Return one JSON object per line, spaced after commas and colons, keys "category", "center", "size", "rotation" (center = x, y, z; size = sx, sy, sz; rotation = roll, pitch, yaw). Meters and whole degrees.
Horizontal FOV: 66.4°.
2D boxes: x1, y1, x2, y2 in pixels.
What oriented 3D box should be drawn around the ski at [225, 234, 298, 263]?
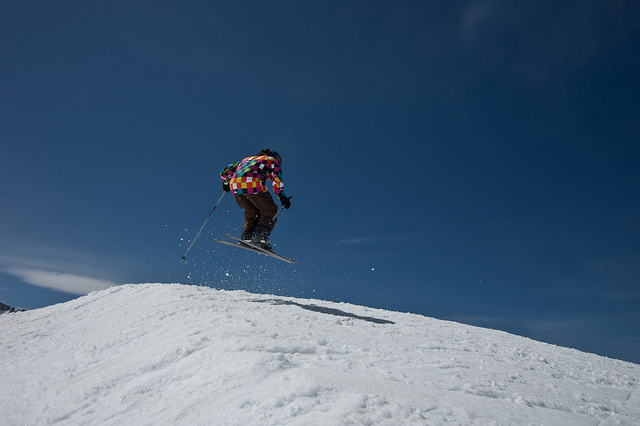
{"category": "ski", "center": [-1.256, 0.656, 9.881], "size": [1.670, 0.073, 0.246], "rotation": [28, -28, 4]}
